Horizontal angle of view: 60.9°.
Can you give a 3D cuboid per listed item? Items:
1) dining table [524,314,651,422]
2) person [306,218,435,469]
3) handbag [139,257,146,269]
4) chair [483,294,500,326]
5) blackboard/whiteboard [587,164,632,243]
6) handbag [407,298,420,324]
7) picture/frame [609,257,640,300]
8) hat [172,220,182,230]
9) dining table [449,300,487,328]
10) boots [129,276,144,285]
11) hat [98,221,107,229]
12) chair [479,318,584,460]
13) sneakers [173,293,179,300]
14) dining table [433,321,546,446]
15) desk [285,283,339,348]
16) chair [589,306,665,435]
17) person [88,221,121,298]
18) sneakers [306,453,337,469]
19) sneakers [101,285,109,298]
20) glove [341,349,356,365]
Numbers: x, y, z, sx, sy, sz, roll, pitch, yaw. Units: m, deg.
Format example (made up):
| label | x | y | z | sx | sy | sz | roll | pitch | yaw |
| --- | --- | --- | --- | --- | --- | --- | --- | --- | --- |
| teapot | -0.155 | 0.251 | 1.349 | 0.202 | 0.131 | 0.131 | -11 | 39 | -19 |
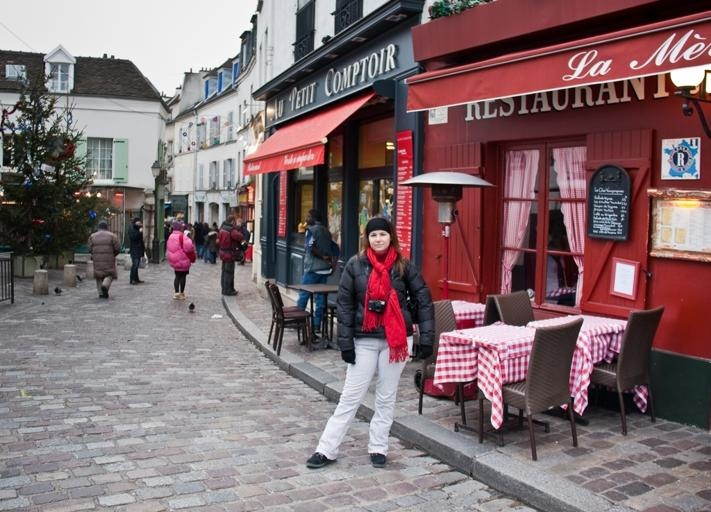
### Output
| label | x | y | z | sx | sy | sz | roll | pitch | yaw |
| --- | --- | --- | --- | --- | --- | --- | --- | --- | --- |
| dining table | 2.550 | 0.996 | 6.792 | 1.168 | 1.022 | 1.189 | 8 | 6 | 43 |
| person | 0.184 | 0.814 | 5.880 | 1.149 | 2.416 | 0.432 | 1 | 3 | 2 |
| handbag | -8.674 | 0.261 | 24.480 | 0.222 | 0.449 | 0.443 | 1 | 1 | 12 |
| chair | 1.668 | 0.662 | 7.367 | 0.179 | 0.350 | 0.335 | 1 | 3 | 39 |
| blackboard/whiteboard | 3.025 | -0.632 | 7.169 | 0.070 | 0.906 | 0.545 | -2 | 3 | -36 |
| handbag | 0.605 | 0.539 | 5.996 | 0.139 | 0.222 | 0.191 | -2 | 6 | 42 |
| picture/frame | 3.157 | 0.250 | 7.025 | 0.046 | 0.616 | 0.431 | 2 | 3 | -28 |
| hat | -4.634 | -0.802 | 15.701 | 0.234 | 0.220 | 0.633 | 0 | 3 | -15 |
| dining table | 1.426 | 0.708 | 7.806 | 0.361 | 0.250 | 0.366 | 2 | -1 | -30 |
| boots | -7.072 | 0.759 | 19.479 | 0.246 | 0.454 | 0.249 | -1 | -2 | 17 |
| hat | -6.781 | -0.820 | 16.160 | 0.180 | 0.149 | 0.199 | -2 | 11 | -8 |
| chair | 1.880 | 1.259 | 6.036 | 0.811 | 1.304 | 0.417 | -1 | 3 | -30 |
| sneakers | -4.690 | 1.037 | 15.839 | 0.163 | 0.172 | 0.166 | -2 | -5 | 43 |
| dining table | 1.393 | 1.175 | 6.257 | 1.005 | 0.917 | 1.003 | -1 | 3 | -34 |
| desk | -0.730 | 0.906 | 10.391 | 0.785 | 1.117 | 1.529 | 0 | 1 | -18 |
| chair | 3.036 | 1.189 | 6.626 | 0.803 | 1.323 | 0.505 | -1 | 3 | -33 |
| person | -6.705 | 0.042 | 16.053 | 0.708 | 2.022 | 1.505 | -1 | 3 | -24 |
| sneakers | -0.336 | 1.965 | 5.834 | 0.306 | 0.131 | 0.109 | 17 | -13 | -42 |
| sneakers | -6.486 | 0.921 | 15.524 | 0.141 | 0.434 | 0.177 | 2 | 13 | 0 |
| glove | -0.060 | 0.943 | 5.776 | 0.135 | 0.151 | 0.108 | -14 | 4 | -18 |
